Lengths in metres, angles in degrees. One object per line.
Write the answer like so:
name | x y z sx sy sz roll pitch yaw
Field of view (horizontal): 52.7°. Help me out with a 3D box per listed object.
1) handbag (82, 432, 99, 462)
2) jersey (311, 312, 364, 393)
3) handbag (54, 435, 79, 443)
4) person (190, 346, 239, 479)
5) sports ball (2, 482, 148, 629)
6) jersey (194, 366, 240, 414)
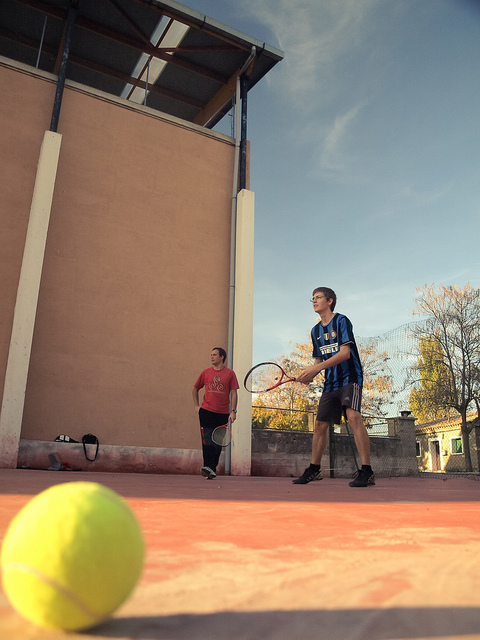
handbag | -2.129 1.790 6.869 0.210 0.379 0.111 6 -5 -31
jersey | 0.876 0.321 4.615 0.355 0.721 0.522 9 -16 -38
handbag | -2.412 1.662 6.767 0.307 0.141 0.102 4 -14 -7
person | -0.316 1.101 5.843 0.782 1.584 0.491 -13 -17 43
sports ball | -0.269 0.357 0.811 0.193 0.220 0.209 7 28 -4
jersey | -0.262 0.861 5.900 0.438 0.558 0.195 -2 -12 4
